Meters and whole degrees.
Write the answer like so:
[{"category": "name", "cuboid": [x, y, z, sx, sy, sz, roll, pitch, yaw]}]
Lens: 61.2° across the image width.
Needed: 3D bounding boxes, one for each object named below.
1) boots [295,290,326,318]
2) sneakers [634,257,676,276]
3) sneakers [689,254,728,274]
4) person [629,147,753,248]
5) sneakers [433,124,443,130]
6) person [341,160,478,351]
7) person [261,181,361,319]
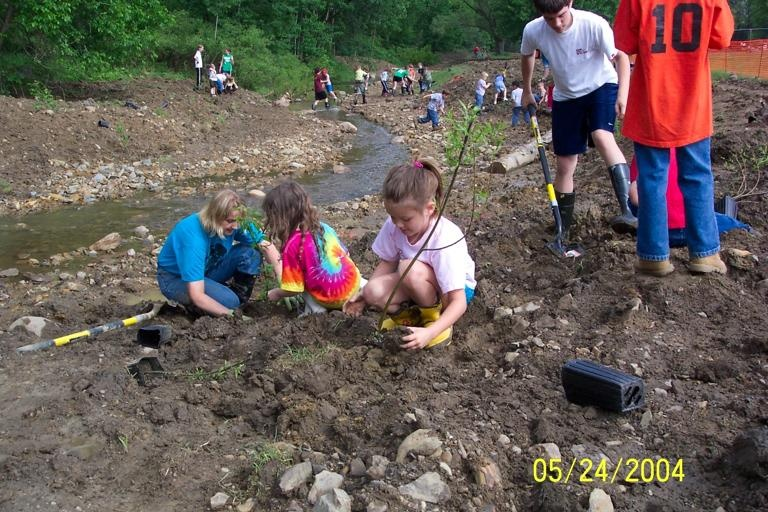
[{"category": "boots", "cuboid": [-0.655, 0.438, 5.842, 0.178, 0.248, 0.379, -6, 9, -25]}, {"category": "sneakers", "cuboid": [2.237, 0.092, 5.366, 0.135, 0.139, 0.294, -9, 15, -22]}, {"category": "sneakers", "cuboid": [2.638, 0.049, 5.278, 0.314, 0.219, 0.133, -8, 5, -29]}, {"category": "person", "cuboid": [2.805, -0.423, 5.793, 0.811, 1.116, 0.410, -9, -3, 25]}, {"category": "sneakers", "cuboid": [1.416, -3.472, 17.255, 0.227, 0.116, 0.296, 10, 6, -13]}, {"category": "person", "cuboid": [0.283, -0.050, 5.198, 0.999, 1.430, 1.042, -22, 29, -38]}, {"category": "person", "cuboid": [-0.652, -0.103, 5.785, 0.894, 1.147, 0.791, 15, 30, 42]}]
